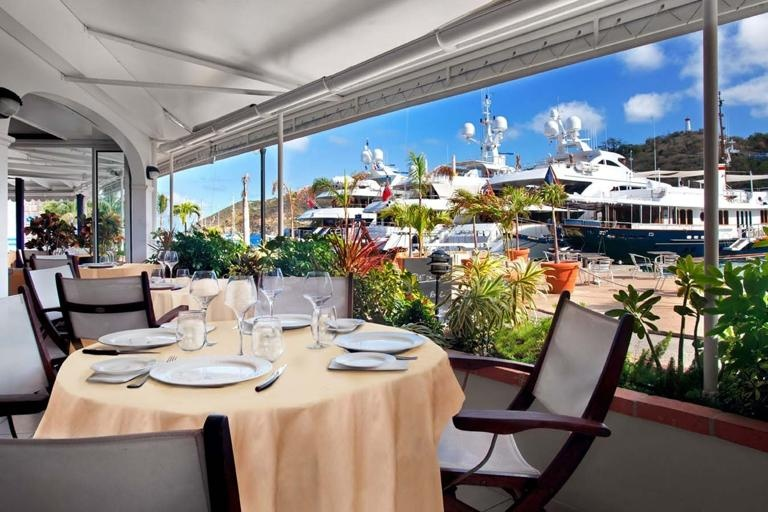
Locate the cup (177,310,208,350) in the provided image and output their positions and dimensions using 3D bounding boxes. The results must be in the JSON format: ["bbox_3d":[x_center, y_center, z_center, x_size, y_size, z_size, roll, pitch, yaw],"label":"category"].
[{"bbox_3d":[-0.997,0.366,2.766,0.171,0.255,0.173,0,3,0],"label":"cup"}]

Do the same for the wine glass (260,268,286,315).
[{"bbox_3d":[-0.659,0.210,3.069,0.120,0.305,0.349,-3,5,-13],"label":"wine glass"}]
